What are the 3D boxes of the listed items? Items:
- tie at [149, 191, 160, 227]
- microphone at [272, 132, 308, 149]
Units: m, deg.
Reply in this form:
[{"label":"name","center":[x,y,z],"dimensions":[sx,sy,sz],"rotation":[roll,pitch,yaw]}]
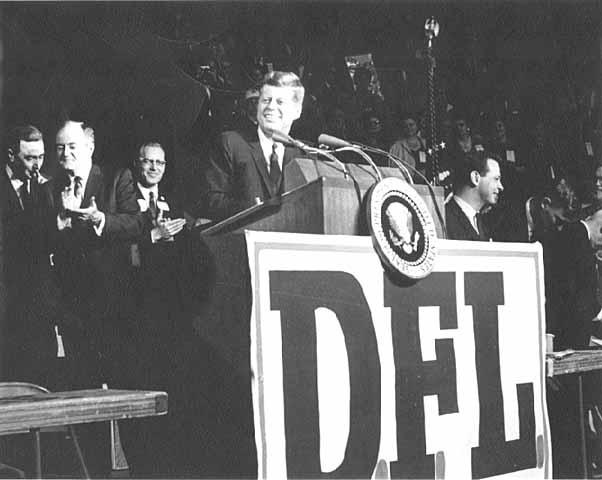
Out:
[{"label":"tie","center":[-0.510,-0.109,3.799],"dimensions":[0.024,0.122,0.030],"rotation":[-4,1,42]},{"label":"microphone","center":[-0.041,-0.362,3.898],"dimensions":[0.102,0.029,0.025],"rotation":[27,-23,-5]}]
